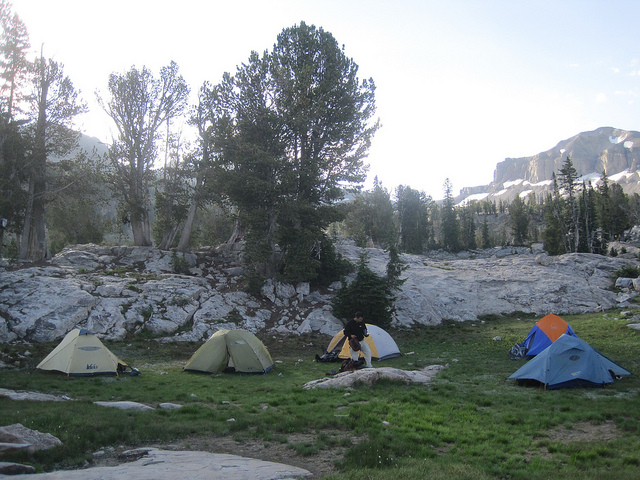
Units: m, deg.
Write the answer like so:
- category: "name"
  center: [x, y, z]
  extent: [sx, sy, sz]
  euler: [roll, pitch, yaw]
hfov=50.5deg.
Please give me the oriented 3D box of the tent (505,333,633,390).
- category: "tent"
  center: [15.456, 7.542, 41.882]
  extent: [5.793, 3.191, 0.933]
  euler: [0, -3, 2]

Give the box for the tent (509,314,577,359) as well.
- category: "tent"
  center: [15.049, 7.189, 46.606]
  extent: [3.697, 3.227, 3.730]
  euler: [-6, 1, -5]

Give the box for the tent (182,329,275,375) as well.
- category: "tent"
  center: [-6.175, 7.890, 45.990]
  extent: [4.752, 3.198, 4.778]
  euler: [-1, 0, 15]

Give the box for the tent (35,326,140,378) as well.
- category: "tent"
  center: [-16.342, 7.563, 45.930]
  extent: [6.660, 3.281, 5.473]
  euler: [8, -14, -36]

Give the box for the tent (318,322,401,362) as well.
- category: "tent"
  center: [3.489, 7.682, 50.498]
  extent: [5.985, 2.650, 4.407]
  euler: [-3, 0, 17]
